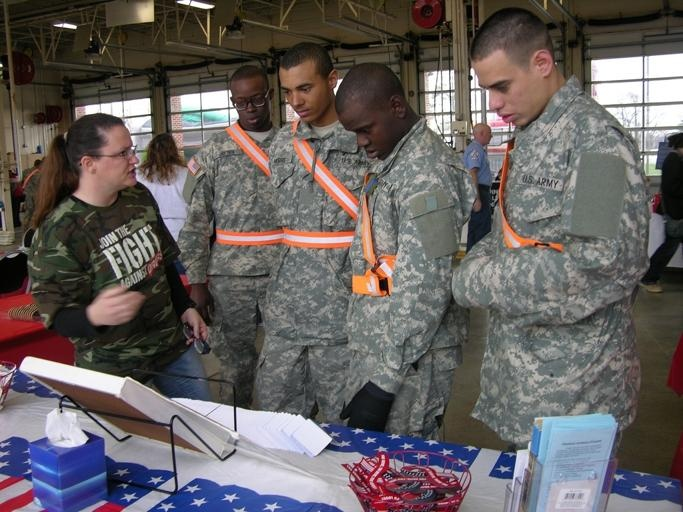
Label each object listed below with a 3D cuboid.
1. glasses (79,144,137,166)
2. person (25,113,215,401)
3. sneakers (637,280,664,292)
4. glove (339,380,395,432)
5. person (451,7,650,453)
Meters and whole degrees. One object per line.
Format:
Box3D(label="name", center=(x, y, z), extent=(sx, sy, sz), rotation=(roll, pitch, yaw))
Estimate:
Box3D(label="glasses", center=(-0.804, -0.376, 2.024), extent=(0.143, 0.055, 0.239), rotation=(1, 15, 10))
Box3D(label="person", center=(-0.843, 0.030, 2.005), extent=(0.535, 1.054, 0.643), rotation=(-3, 15, -3))
Box3D(label="sneakers", center=(3.662, 0.358, 6.528), extent=(0.108, 0.111, 0.290), rotation=(-1, 3, -8))
Box3D(label="glove", center=(0.087, 0.514, 1.892), extent=(0.191, 0.183, 0.104), rotation=(0, 15, 7))
Box3D(label="person", center=(0.571, -0.047, 1.562), extent=(0.558, 1.310, 0.524), rotation=(8, 18, 34))
